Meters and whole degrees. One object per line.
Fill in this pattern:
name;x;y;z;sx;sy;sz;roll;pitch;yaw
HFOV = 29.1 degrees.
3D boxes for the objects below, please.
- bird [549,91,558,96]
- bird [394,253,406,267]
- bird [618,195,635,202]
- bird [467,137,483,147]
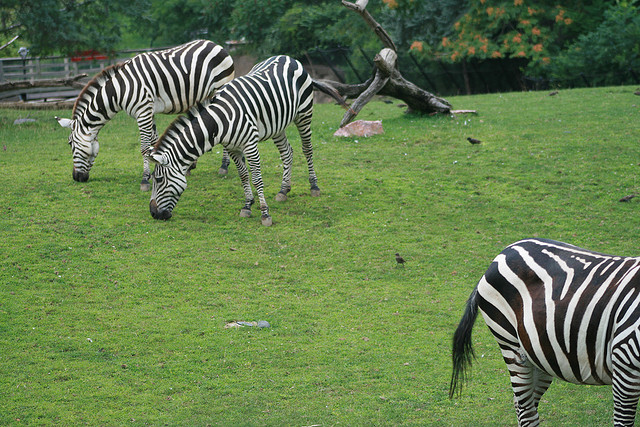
bird;7.358;-3.792;39.411;0.249;0.121;0.406;3;8;9
bird;2.004;1.235;31.373;0.260;0.325;0.335;2;8;3
bird;8.014;-0.348;32.711;0.507;0.141;0.126;-13;-38;29
bird;4.359;-2.073;35.628;0.483;0.287;0.152;0;-6;-20
